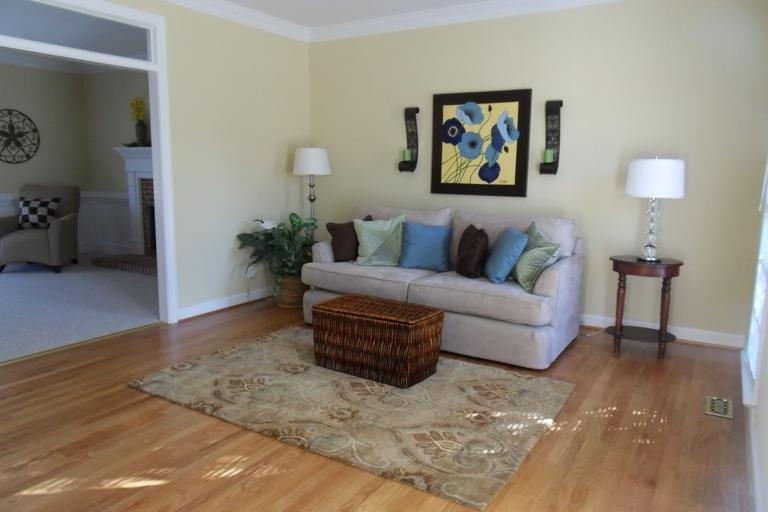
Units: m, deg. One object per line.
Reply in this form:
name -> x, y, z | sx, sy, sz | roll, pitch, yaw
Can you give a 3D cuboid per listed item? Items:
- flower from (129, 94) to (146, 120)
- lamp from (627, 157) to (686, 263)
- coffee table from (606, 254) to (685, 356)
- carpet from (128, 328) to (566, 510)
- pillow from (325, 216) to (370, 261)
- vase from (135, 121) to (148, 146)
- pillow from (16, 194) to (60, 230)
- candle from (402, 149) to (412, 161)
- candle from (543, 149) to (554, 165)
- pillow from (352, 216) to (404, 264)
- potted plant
flower -> -3.619, -2.160, 7.811 | 0.318, 0.360, 0.146 | 8, 14, 27
lamp -> 2.427, -0.415, 4.777 | 0.444, 0.905, 0.537 | 11, 15, 37
coffee table -> 2.371, 0.467, 4.885 | 0.654, 0.864, 0.624 | 2, 4, 0
carpet -> -0.123, 1.113, 4.161 | 2.824, 0.266, 1.543 | 7, 12, 24
pillow -> -0.415, -0.153, 5.557 | 0.407, 0.363, 0.124 | -6, -6, -13
vase -> -3.479, -1.776, 7.712 | 0.172, 0.375, 0.239 | -3, 13, -23
pillow -> -4.681, -0.585, 7.265 | 0.503, 0.188, 0.391 | -5, 55, -12
candle -> 0.267, -1.128, 5.966 | 0.119, 0.127, 0.117 | 4, 10, 17
candle -> 1.654, -0.993, 5.321 | 0.107, 0.143, 0.057 | -1, 12, -12
pillow -> -0.026, -0.143, 5.454 | 0.498, 0.445, 0.149 | -1, -10, 3
potted plant -> -1.117, 0.062, 6.281 | 1.148, 1.058, 0.975 | -1, 7, -5
